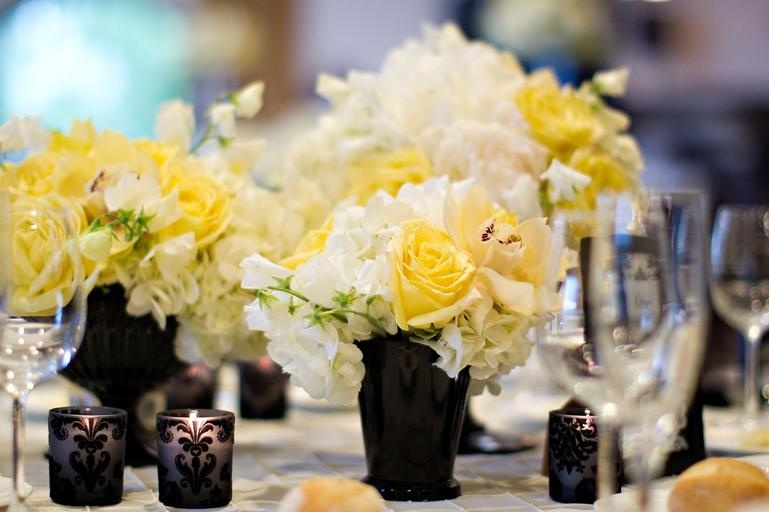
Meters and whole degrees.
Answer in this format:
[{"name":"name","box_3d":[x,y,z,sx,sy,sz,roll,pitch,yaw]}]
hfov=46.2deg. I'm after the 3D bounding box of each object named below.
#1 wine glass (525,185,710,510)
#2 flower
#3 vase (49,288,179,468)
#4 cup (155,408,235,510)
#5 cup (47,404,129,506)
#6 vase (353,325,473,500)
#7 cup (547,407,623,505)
[{"name":"wine glass","box_3d":[0.287,0.110,1.095,0.192,0.377,0.160,0,1,20]},{"name":"flower","box_3d":[-0.055,-0.053,1.303,0.637,0.418,0.680,10,32,23]},{"name":"vase","box_3d":[-0.376,0.182,1.427,0.220,0.288,0.225,-1,-2,21]},{"name":"cup","box_3d":[-0.248,0.279,1.253,0.103,0.133,0.111,1,-1,0]},{"name":"cup","box_3d":[-0.393,0.273,1.261,0.103,0.135,0.112,2,1,0]},{"name":"vase","box_3d":[0.035,0.211,1.220,0.176,0.222,0.195,0,-7,-3]},{"name":"cup","box_3d":[0.264,0.263,1.226,0.105,0.129,0.104,1,-2,0]}]
